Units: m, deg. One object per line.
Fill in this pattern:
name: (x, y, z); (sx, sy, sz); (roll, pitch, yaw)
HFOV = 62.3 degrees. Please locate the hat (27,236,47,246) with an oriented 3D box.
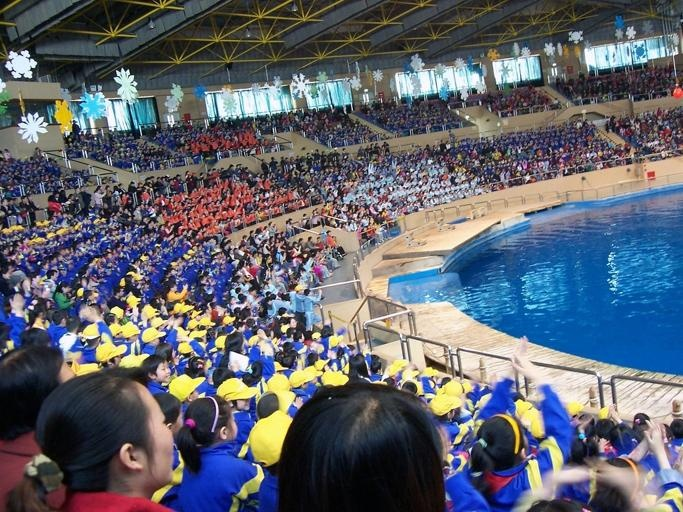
hat: (-7.717, -0.375, 14.292); (0.287, 0.126, 0.373); (6, 14, -8)

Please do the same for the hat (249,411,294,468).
hat: (-0.464, 1.242, 3.842); (0.287, 0.288, 0.287); (-15, 11, -29)

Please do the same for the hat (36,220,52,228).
hat: (-8.985, -0.987, 17.008); (0.325, 0.210, 0.421); (2, 4, 5)

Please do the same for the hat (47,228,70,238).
hat: (-7.955, -0.671, 15.896); (0.395, 0.103, 0.393); (-22, 2, -7)
